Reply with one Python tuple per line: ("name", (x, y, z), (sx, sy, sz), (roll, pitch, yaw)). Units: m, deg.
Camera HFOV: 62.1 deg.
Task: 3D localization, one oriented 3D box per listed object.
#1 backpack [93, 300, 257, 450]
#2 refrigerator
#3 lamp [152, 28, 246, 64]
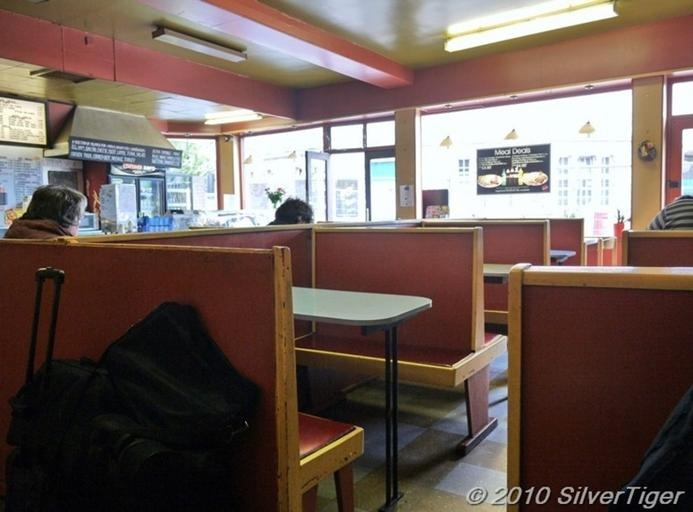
("backpack", (-0.625, 0.483, 2.058), (0.560, 0.219, 0.362), (33, 45, 17))
("refrigerator", (-3.141, -0.958, 8.055), (0.409, 1.064, 1.166), (1, 2, 29))
("lamp", (-1.615, -2.412, 6.507), (1.301, 0.280, 0.485), (-9, 13, -42))
